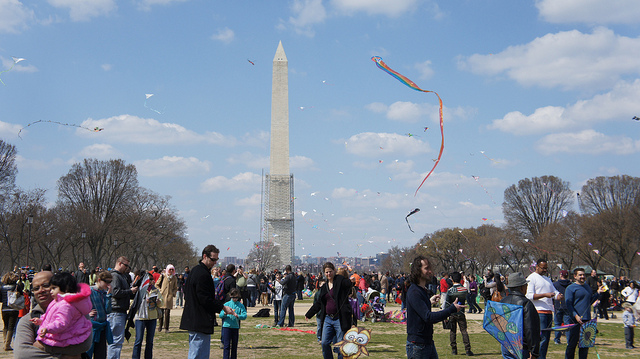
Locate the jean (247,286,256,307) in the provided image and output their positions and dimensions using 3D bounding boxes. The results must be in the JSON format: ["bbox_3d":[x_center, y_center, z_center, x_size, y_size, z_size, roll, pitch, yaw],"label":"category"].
[{"bbox_3d":[-5.575,9.753,58.204,0.650,1.510,2.016,1,-17,-5],"label":"jean"}]

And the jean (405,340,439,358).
[{"bbox_3d":[5.424,9.034,38.329,1.541,1.127,0.964,7,-17,-19],"label":"jean"}]

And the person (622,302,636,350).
[{"bbox_3d":[19.728,9.443,45.321,0.717,3.061,0.743,-6,-18,17],"label":"person"}]

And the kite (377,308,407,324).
[{"bbox_3d":[5.538,10.065,51.127,0.943,1.043,1.891,11,-20,-33],"label":"kite"}]

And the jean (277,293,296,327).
[{"bbox_3d":[-2.215,9.070,48.687,1.064,2.114,1.993,0,-17,-2],"label":"jean"}]

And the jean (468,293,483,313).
[{"bbox_3d":[12.510,10.039,56.911,1.049,1.650,3.433,-4,-17,12],"label":"jean"}]

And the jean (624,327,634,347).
[{"bbox_3d":[19.683,10.120,45.097,0.462,1.215,0.421,0,-17,-1],"label":"jean"}]

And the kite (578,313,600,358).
[{"bbox_3d":[15.719,9.285,41.293,1.646,2.337,0.974,15,-23,-42],"label":"kite"}]

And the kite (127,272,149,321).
[{"bbox_3d":[-10.760,7.188,41.878,0.903,4.041,0.743,6,28,-32],"label":"kite"}]
